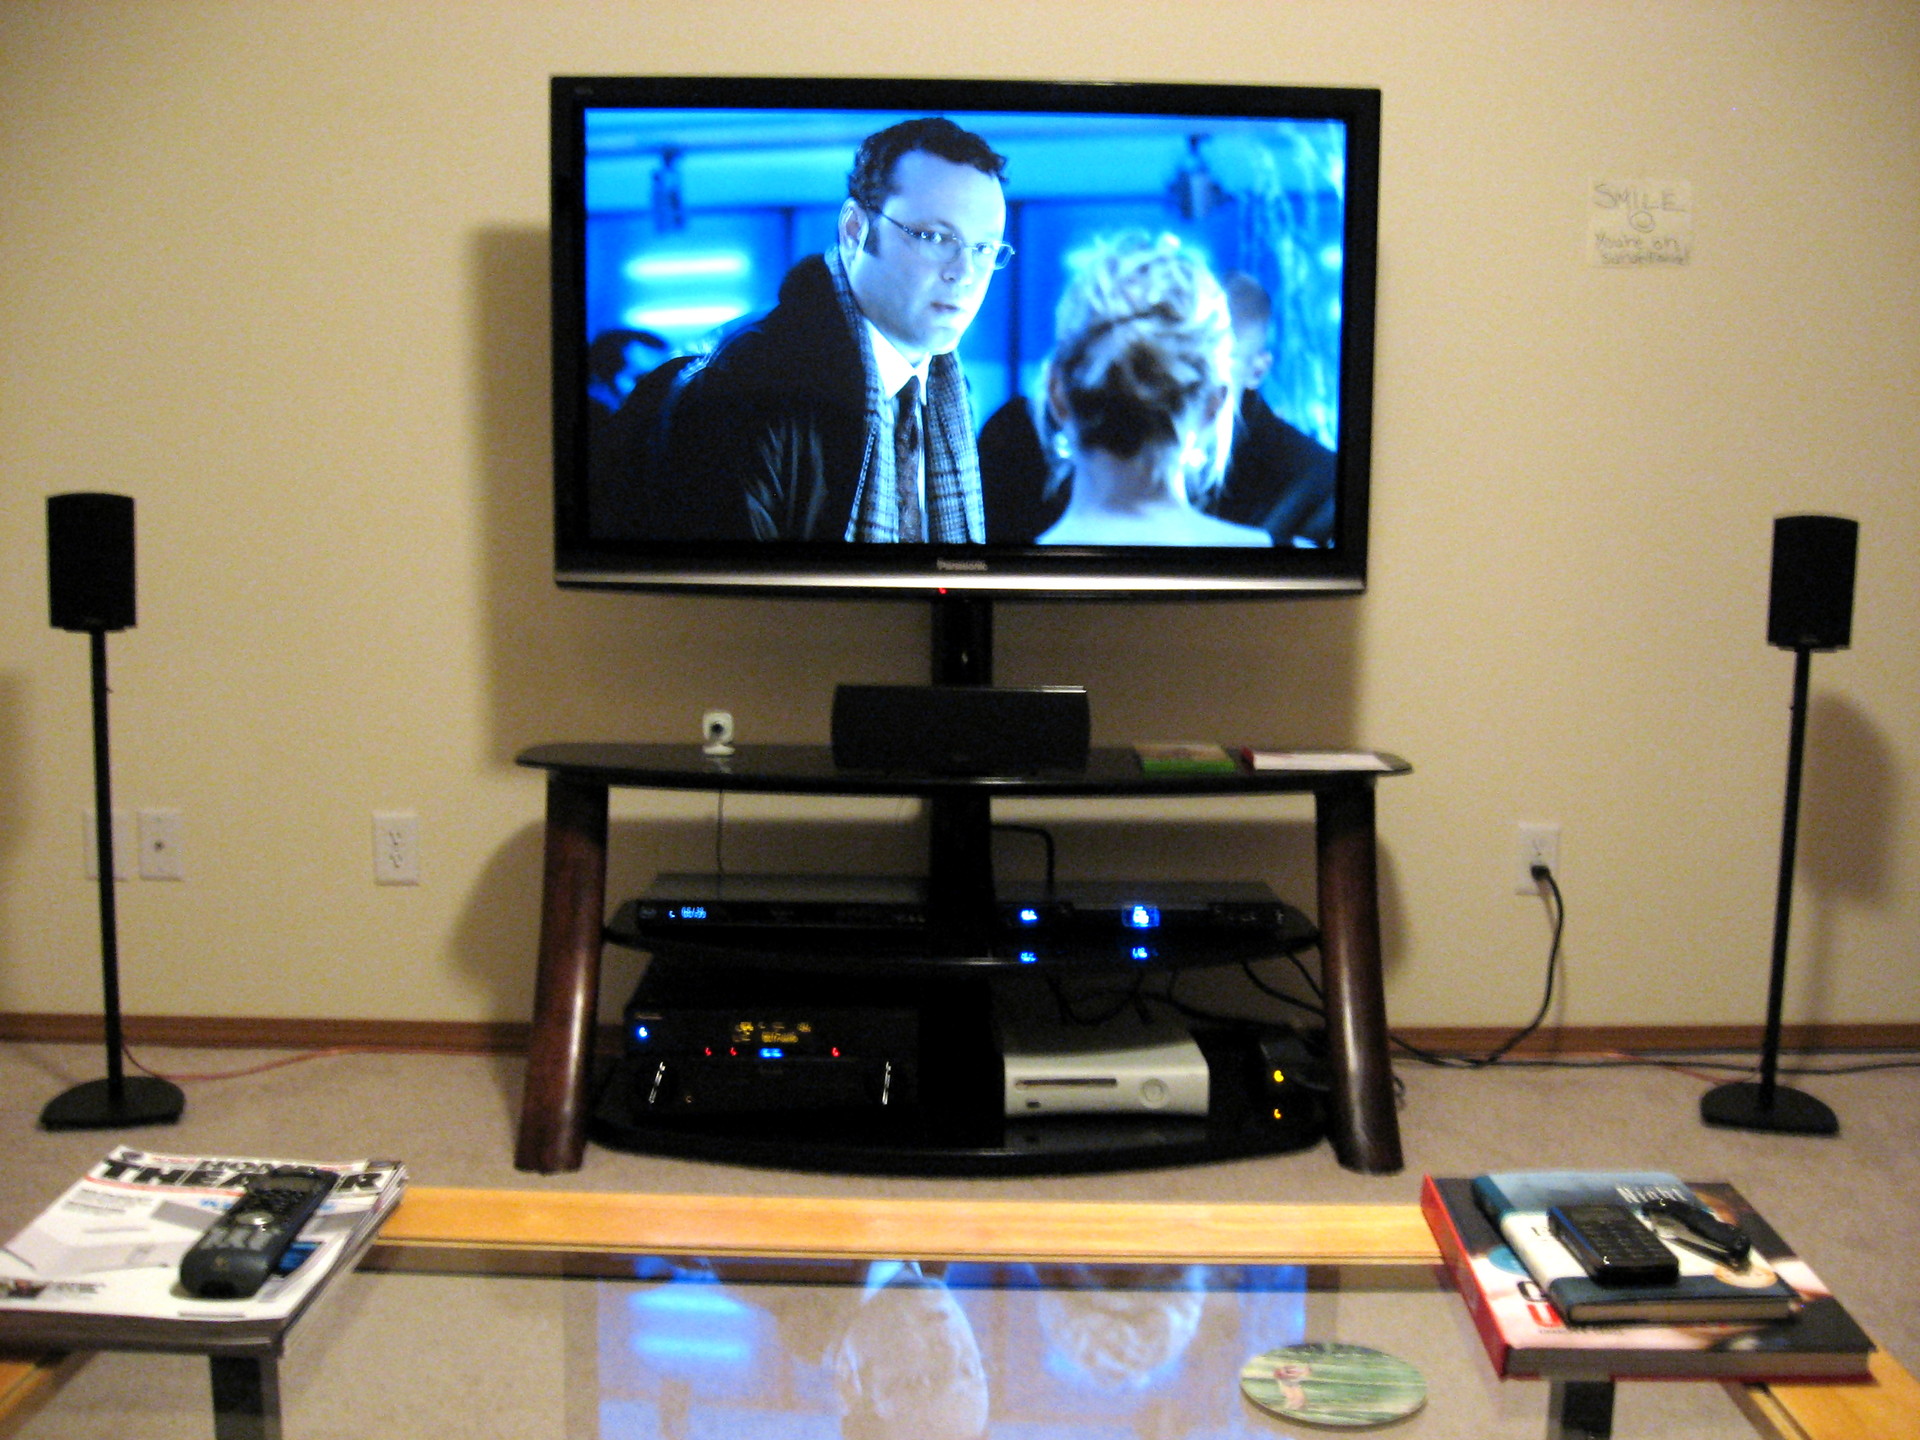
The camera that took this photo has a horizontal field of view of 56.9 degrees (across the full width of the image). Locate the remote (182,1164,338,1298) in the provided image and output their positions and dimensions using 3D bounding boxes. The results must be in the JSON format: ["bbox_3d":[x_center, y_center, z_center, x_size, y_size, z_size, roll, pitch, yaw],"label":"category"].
[{"bbox_3d":[-0.845,0.618,2.139,0.114,0.062,0.237,2,13,5],"label":"remote"}]

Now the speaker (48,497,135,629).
[{"bbox_3d":[-1.566,-0.285,3.189,0.150,0.250,0.135,-6,14,-25],"label":"speaker"}]

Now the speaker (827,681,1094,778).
[{"bbox_3d":[-0.002,0.021,3.036,0.433,0.147,0.055,2,13,4],"label":"speaker"}]

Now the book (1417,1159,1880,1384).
[{"bbox_3d":[0.806,0.665,2.110,0.465,0.149,0.240,1,13,2],"label":"book"}]

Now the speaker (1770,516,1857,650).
[{"bbox_3d":[1.552,-0.248,3.222,0.141,0.246,0.091,6,14,22],"label":"speaker"}]
